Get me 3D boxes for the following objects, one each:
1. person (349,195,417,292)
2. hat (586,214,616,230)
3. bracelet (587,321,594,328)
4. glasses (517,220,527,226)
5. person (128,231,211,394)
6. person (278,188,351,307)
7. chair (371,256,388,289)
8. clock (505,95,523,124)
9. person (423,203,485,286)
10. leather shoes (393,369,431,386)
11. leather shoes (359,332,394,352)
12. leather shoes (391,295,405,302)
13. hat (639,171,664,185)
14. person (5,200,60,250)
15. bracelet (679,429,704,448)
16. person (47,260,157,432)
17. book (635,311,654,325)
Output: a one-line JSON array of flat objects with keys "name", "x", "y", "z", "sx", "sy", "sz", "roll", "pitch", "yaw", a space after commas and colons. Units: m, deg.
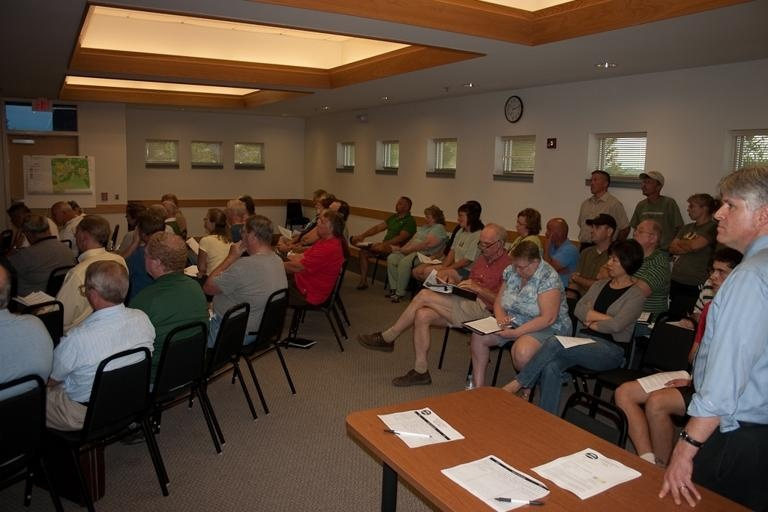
[{"name": "person", "x": -0.033, "y": -0.239, "z": 8.718, "sx": 1.057, "sy": 1.637, "sz": 0.914, "roll": 0, "pitch": 12, "yaw": -33}, {"name": "hat", "x": 2.348, "y": -0.384, "z": 5.597, "sx": 0.346, "sy": 0.151, "sz": 0.231, "roll": 3, "pitch": 4, "yaw": 9}, {"name": "bracelet", "x": 1.766, "y": 0.580, "z": 4.352, "sx": 0.073, "sy": 0.058, "sz": 0.040, "roll": -1, "pitch": 11, "yaw": 27}, {"name": "glasses", "x": 1.674, "y": -0.400, "z": 6.122, "sx": 0.078, "sy": 0.050, "sz": 0.064, "roll": 9, "pitch": 3, "yaw": -21}, {"name": "person", "x": -1.767, "y": 0.405, "z": 4.073, "sx": 0.599, "sy": 1.242, "sz": 0.625, "roll": 26, "pitch": 24, "yaw": 30}, {"name": "person", "x": -0.869, "y": -0.108, "z": 6.488, "sx": 0.792, "sy": 1.027, "sz": 1.599, "roll": 1, "pitch": 14, "yaw": -5}, {"name": "chair", "x": 0.010, "y": 0.271, "z": 9.822, "sx": 0.421, "sy": 0.749, "sz": 0.466, "roll": 0, "pitch": -3, "yaw": 9}, {"name": "clock", "x": 1.999, "y": -2.258, "z": 7.784, "sx": 0.049, "sy": 0.456, "sz": 0.459, "roll": -3, "pitch": 4, "yaw": -29}, {"name": "person", "x": 0.911, "y": -0.016, "z": 7.067, "sx": 0.856, "sy": 1.447, "sz": 0.647, "roll": -1, "pitch": 12, "yaw": -23}, {"name": "leather shoes", "x": 0.284, "y": 1.235, "z": 5.151, "sx": 0.383, "sy": 0.159, "sz": 0.156, "roll": 2, "pitch": -3, "yaw": -8}, {"name": "leather shoes", "x": -0.084, "y": 0.903, "z": 5.387, "sx": 0.396, "sy": 0.175, "sz": 0.162, "roll": 6, "pitch": 12, "yaw": 2}, {"name": "leather shoes", "x": 0.200, "y": 0.660, "z": 7.853, "sx": 0.106, "sy": 0.104, "sz": 0.281, "roll": 0, "pitch": -1, "yaw": 8}, {"name": "hat", "x": 3.218, "y": -0.948, "z": 6.101, "sx": 0.230, "sy": 0.129, "sz": 0.167, "roll": 23, "pitch": 3, "yaw": -7}, {"name": "person", "x": -4.898, "y": -0.418, "z": 6.998, "sx": 0.700, "sy": 0.917, "sz": 0.457, "roll": -5, "pitch": 9, "yaw": -31}, {"name": "bracelet", "x": 1.506, "y": 0.876, "z": 2.448, "sx": 0.097, "sy": 0.039, "sz": 0.099, "roll": 34, "pitch": 14, "yaw": 13}, {"name": "person", "x": -2.008, "y": 0.609, "z": 3.615, "sx": 0.667, "sy": 1.237, "sz": 0.729, "roll": 27, "pitch": 24, "yaw": 35}, {"name": "book", "x": 2.408, "y": 0.564, "z": 4.658, "sx": 0.178, "sy": 0.044, "sz": 0.181, "roll": -8, "pitch": 13, "yaw": 14}]
